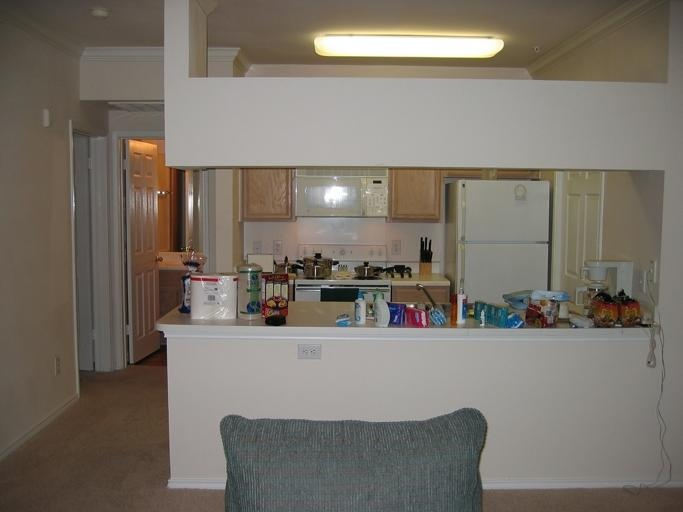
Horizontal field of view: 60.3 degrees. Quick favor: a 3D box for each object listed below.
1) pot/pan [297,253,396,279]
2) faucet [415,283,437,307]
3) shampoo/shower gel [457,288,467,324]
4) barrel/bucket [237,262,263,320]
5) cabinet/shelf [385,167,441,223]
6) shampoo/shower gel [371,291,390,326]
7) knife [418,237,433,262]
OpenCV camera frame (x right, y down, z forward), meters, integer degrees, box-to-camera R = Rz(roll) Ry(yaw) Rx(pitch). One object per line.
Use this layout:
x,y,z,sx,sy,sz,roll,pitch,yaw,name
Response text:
0.045,0.115,6.692,1.009,0.271,0.604,0,13,3,pot/pan
0.801,0.380,5.647,0.065,0.234,0.222,-11,14,-30,faucet
0.863,0.364,4.233,0.063,0.245,0.154,2,13,12,shampoo/shower gel
-0.667,0.252,4.234,0.179,0.373,0.130,-3,12,-10,barrel/bucket
0.822,-0.682,6.591,0.577,0.556,0.136,2,12,11,cabinet/shelf
0.271,0.389,4.224,0.077,0.211,0.200,-1,7,-6,shampoo/shower gel
0.992,-0.069,6.859,0.152,0.278,0.111,0,12,3,knife
